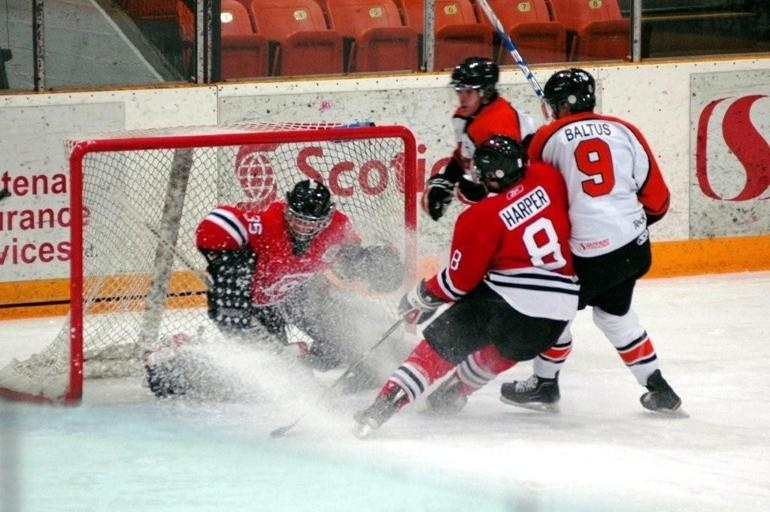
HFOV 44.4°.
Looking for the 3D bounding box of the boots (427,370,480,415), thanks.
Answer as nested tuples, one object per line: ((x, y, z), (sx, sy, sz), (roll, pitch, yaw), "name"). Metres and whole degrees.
((0.327, 0.647, 4.418), (0.179, 0.096, 0.169), (-41, 10, -29), "boots")

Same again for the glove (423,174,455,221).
((0.284, -0.317, 5.076), (0.181, 0.220, 0.081), (13, 9, -17), "glove")

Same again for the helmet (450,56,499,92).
((0.461, -0.926, 4.808), (0.224, 0.159, 0.154), (9, 5, -1), "helmet")

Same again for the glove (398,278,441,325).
((0.183, 0.234, 4.459), (0.229, 0.092, 0.179), (-34, 25, 34), "glove")

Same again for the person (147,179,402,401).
((-0.540, 0.219, 4.804), (1.104, 0.983, 0.547), (-5, 36, -34), "person")

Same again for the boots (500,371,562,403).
((0.720, 0.643, 4.675), (0.325, 0.195, 0.120), (4, 4, 11), "boots")

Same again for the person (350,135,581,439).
((0.403, 0.106, 4.244), (0.944, 1.262, 0.434), (-5, 9, -2), "person")
